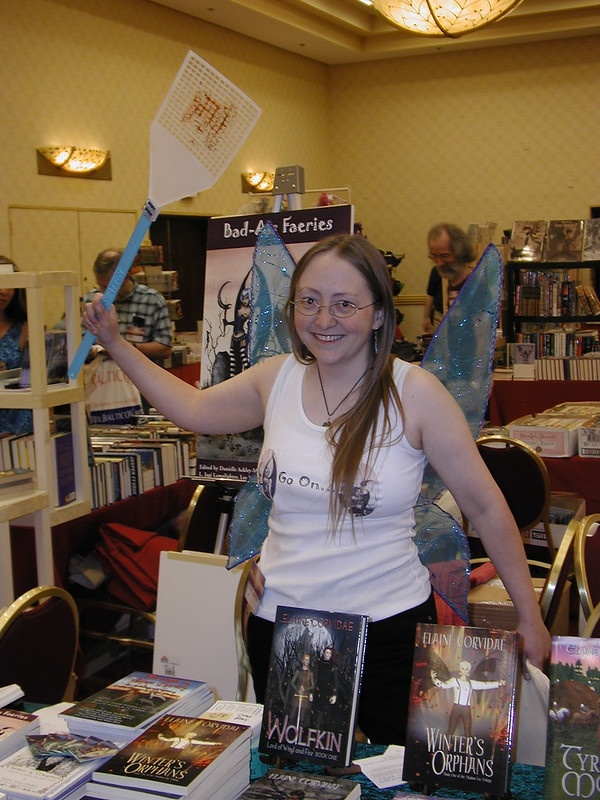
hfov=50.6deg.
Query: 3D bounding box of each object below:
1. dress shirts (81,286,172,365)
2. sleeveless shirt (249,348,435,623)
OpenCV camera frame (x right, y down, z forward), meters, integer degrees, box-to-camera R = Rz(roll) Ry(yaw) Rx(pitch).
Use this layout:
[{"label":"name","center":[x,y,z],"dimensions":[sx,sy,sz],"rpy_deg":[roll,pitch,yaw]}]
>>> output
[{"label":"dress shirts","center":[-1.264,-0.470,4.604],"dimensions":[0.642,0.776,0.415],"rpy_deg":[4,-11,-30]},{"label":"sleeveless shirt","center":[0.073,0.157,1.129],"dimensions":[0.316,0.423,0.226],"rpy_deg":[1,0,10]}]
